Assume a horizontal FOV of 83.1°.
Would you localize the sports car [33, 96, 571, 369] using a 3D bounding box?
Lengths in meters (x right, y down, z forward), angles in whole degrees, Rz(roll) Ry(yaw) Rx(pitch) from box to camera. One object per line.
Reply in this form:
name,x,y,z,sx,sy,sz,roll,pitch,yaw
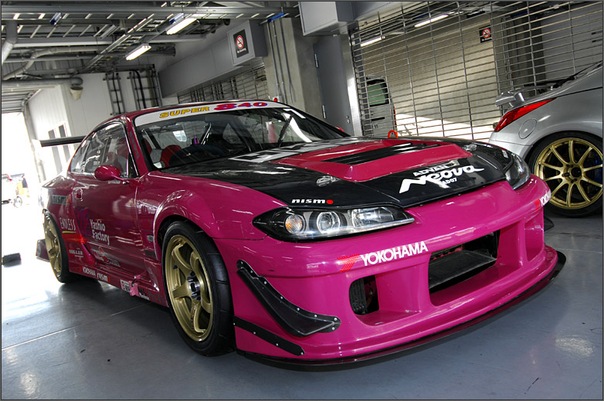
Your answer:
sports car,-0.565,-0.194,3.383,4.457,1.050,2.475,12,20,44
